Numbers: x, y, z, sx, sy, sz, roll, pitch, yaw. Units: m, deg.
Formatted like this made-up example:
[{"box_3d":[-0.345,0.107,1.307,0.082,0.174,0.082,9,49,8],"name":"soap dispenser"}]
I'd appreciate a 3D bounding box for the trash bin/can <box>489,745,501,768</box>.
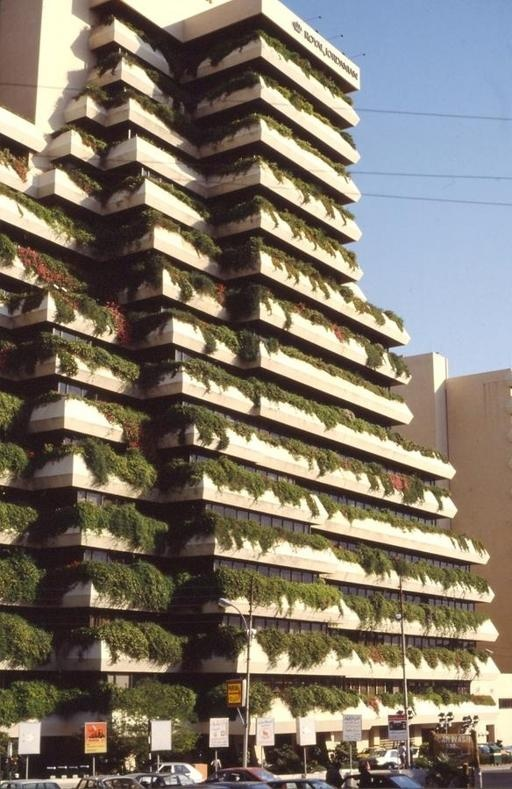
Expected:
[{"box_3d":[16.135,24.433,82.225,0.754,1.058,2.018,-5,-16,8],"name":"trash bin/can"}]
